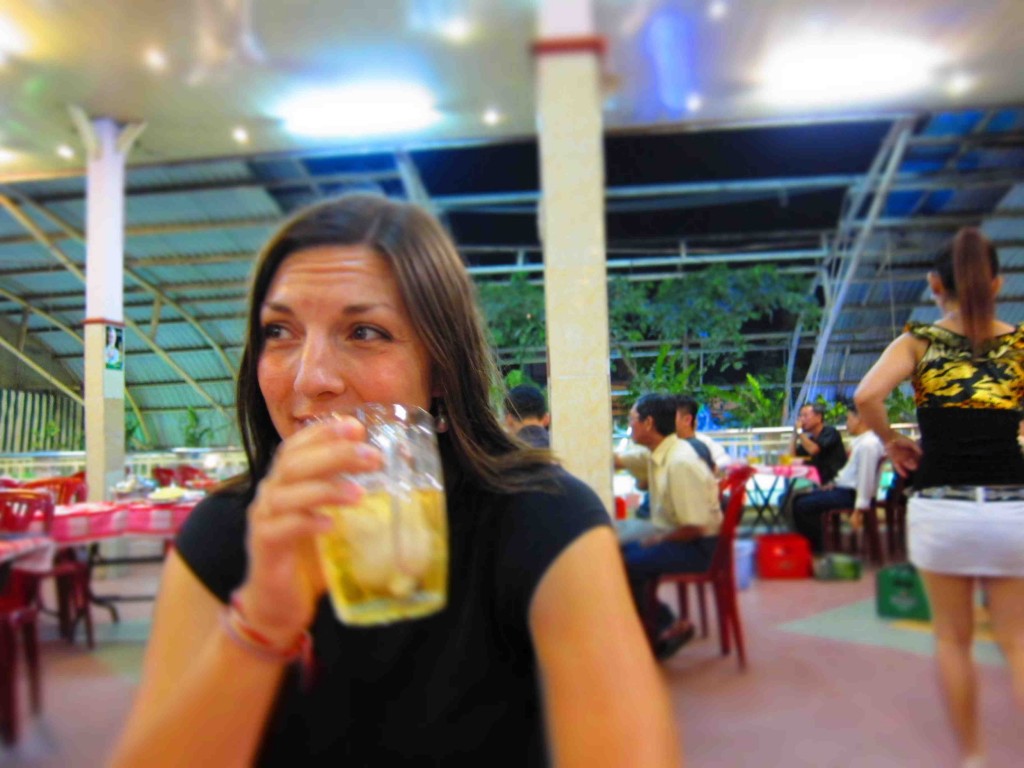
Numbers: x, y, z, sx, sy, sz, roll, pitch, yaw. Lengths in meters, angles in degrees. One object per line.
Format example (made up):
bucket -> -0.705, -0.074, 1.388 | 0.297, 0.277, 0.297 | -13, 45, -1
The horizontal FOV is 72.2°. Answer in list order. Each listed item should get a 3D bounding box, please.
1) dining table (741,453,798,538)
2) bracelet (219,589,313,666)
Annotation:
dining table -> 2.479, 1.053, 6.945 | 0.405, 0.412, 0.393 | 5, -15, 16
bracelet -> -0.341, 0.378, 1.062 | 0.149, 0.054, 0.109 | 38, -5, -19
